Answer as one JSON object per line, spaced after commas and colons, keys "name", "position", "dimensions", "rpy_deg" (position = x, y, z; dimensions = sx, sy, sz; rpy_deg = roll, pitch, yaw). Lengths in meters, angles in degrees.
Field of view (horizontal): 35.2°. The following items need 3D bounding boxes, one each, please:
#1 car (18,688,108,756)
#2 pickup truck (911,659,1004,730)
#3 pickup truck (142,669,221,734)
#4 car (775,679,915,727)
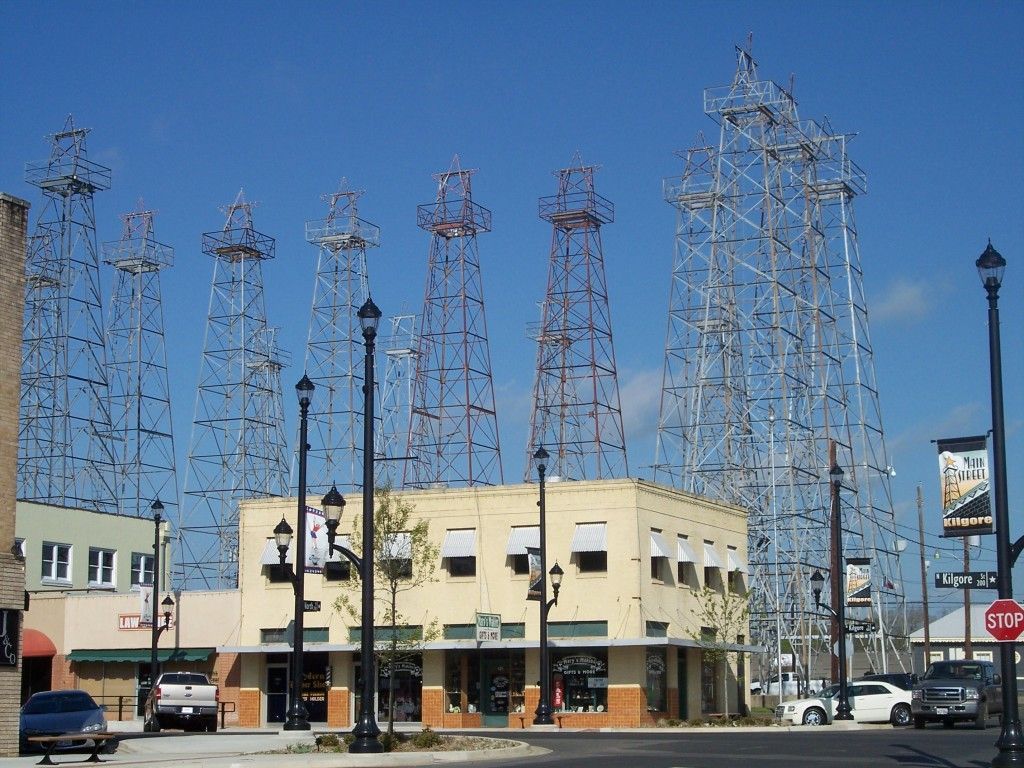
{"name": "car", "position": [-12.330, 9.240, 43.910], "dimensions": [1.346, 1.060, 2.920], "rpy_deg": [0, -13, -10]}
{"name": "pickup truck", "position": [15.331, 10.624, 55.132], "dimensions": [2.591, 2.467, 5.153], "rpy_deg": [-5, -11, 29]}
{"name": "pickup truck", "position": [-11.395, 11.207, 55.788], "dimensions": [2.235, 2.364, 5.042], "rpy_deg": [4, -13, -18]}
{"name": "car", "position": [11.942, 11.119, 56.687], "dimensions": [4.634, 1.685, 3.526], "rpy_deg": [9, -18, -33]}
